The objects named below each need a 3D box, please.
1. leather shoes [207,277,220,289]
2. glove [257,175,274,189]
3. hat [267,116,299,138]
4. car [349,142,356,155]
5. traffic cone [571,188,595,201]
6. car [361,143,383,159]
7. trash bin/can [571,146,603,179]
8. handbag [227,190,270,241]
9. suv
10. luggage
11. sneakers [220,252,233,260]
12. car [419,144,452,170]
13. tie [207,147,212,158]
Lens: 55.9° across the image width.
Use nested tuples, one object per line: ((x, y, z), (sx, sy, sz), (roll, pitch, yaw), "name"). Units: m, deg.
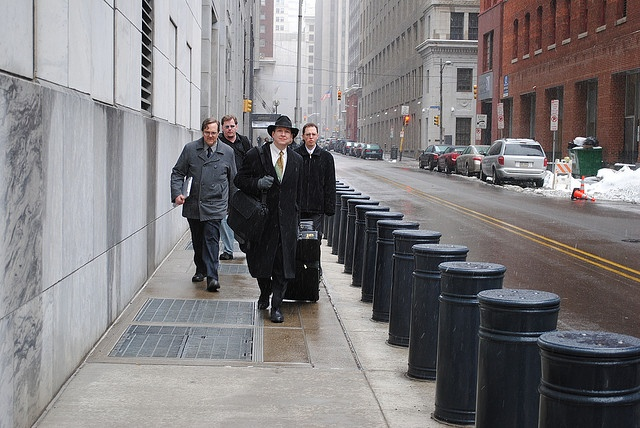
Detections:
((-1.605, 1.083, 9.139), (0.186, 0.228, 0.143), (-1, 6, -19), "leather shoes")
((-0.675, -0.365, 7.530), (0.204, 0.189, 0.181), (0, 6, -7), "glove")
((-0.461, -1.116, 7.631), (0.261, 0.159, 0.355), (5, -13, 1), "hat")
((4.262, -8.153, 78.052), (0.802, 0.857, 1.572), (2, 11, 5), "car")
((10.683, -0.757, 24.513), (0.870, 0.449, 0.823), (1, 7, -6), "traffic cone")
((5.706, -6.810, 67.062), (1.585, 1.620, 2.436), (-5, 9, -42), "car")
((14.220, -2.674, 32.017), (1.208, 1.973, 1.906), (1, 0, 6), "trash bin/can")
((-0.889, 0.021, 7.622), (0.498, 0.649, 0.232), (26, 10, 34), "handbag")
((10.159, -2.640, 31.411), (2.322, 2.396, 3.069), (1, 7, -2), "suv")
((-0.282, 0.789, 8.716), (0.490, 1.037, 0.577), (0, -6, -7), "luggage")
((-1.855, 0.863, 11.930), (0.213, 0.109, 0.129), (8, -1, -8), "sneakers")
((8.782, -4.309, 46.274), (1.276, 1.121, 3.118), (0, 8, -3), "car")
((-1.691, -0.938, 9.242), (0.036, 0.182, 0.043), (4, -6, -18), "tie")
